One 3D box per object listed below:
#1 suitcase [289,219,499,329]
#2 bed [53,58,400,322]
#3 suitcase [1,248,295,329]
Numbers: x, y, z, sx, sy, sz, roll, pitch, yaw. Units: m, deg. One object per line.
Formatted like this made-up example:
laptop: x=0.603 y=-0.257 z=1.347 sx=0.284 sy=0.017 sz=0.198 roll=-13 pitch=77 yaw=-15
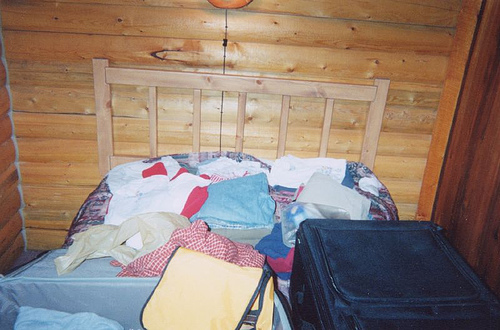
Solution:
suitcase: x=0.626 y=0.479 z=1.914 sx=0.690 sy=0.594 sz=0.408 roll=0 pitch=-70 yaw=3
bed: x=-0.116 y=0.288 z=2.975 sx=2.066 sy=1.756 sz=1.196 roll=1 pitch=-64 yaw=0
suitcase: x=-0.542 y=0.603 z=2.038 sx=1.155 sy=0.479 sz=0.209 roll=6 pitch=-75 yaw=-4
